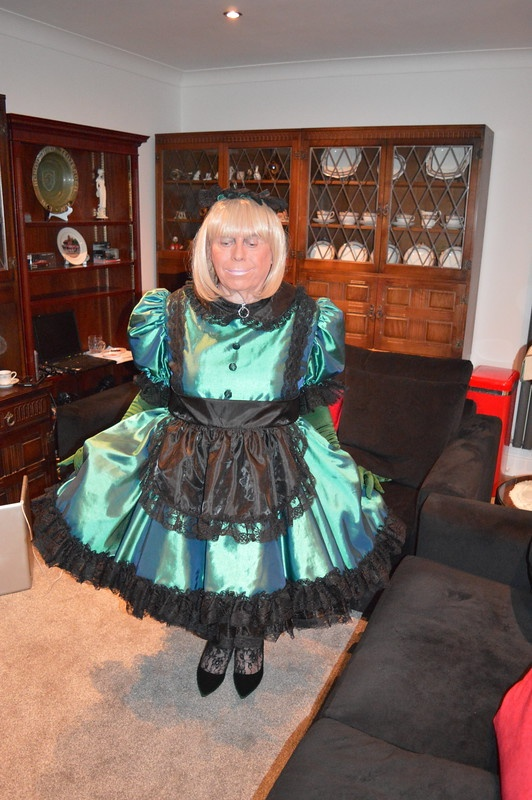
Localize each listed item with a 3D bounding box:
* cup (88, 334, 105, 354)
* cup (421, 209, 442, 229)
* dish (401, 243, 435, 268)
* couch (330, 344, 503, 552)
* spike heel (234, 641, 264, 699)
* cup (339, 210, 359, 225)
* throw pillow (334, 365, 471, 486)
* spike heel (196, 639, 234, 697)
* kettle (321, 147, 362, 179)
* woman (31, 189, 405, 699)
[{"bbox_3d":[-1.073,-0.354,3.424,0.138,0.124,0.088,2,1,-9],"label":"cup"},{"bbox_3d":[0.984,-1.077,3.186,0.123,0.093,0.077,15,26,13],"label":"cup"},{"bbox_3d":[0.924,-0.873,3.212,0.189,0.137,0.081,4,8,16],"label":"dish"},{"bbox_3d":[0.510,0.261,2.376,0.893,0.714,0.655,9,37,35],"label":"couch"},{"bbox_3d":[-0.046,0.752,1.499,0.077,0.226,0.074,0,8,4],"label":"spike heel"},{"bbox_3d":[0.521,-1.154,3.371,0.096,0.057,0.095,0,9,0],"label":"cup"},{"bbox_3d":[0.588,0.050,2.327,0.589,0.562,0.174,4,-21,26],"label":"throw pillow"},{"bbox_3d":[-0.142,0.754,1.504,0.075,0.217,0.066,14,31,11],"label":"spike heel"},{"bbox_3d":[0.458,-1.483,3.304,0.185,0.206,0.073,20,22,20],"label":"kettle"},{"bbox_3d":[-0.109,0.122,1.421,0.892,1.201,0.514,3,12,4],"label":"woman"}]
